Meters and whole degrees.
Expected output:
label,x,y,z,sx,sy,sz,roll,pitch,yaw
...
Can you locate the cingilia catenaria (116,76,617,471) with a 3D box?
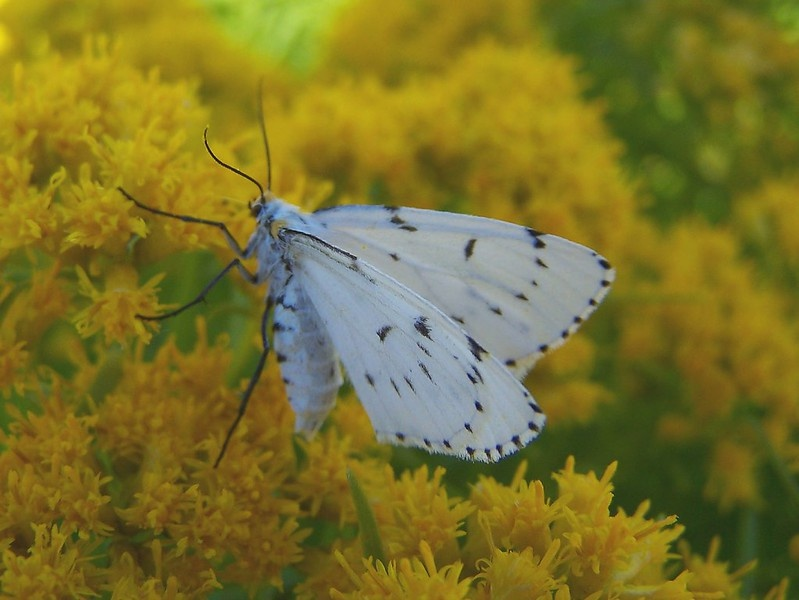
label,x,y,z,sx,sy,sz,roll,pitch,yaw
cingilia catenaria,-0.019,-0.032,1.182,0.434,0.249,0.548,-17,76,13
